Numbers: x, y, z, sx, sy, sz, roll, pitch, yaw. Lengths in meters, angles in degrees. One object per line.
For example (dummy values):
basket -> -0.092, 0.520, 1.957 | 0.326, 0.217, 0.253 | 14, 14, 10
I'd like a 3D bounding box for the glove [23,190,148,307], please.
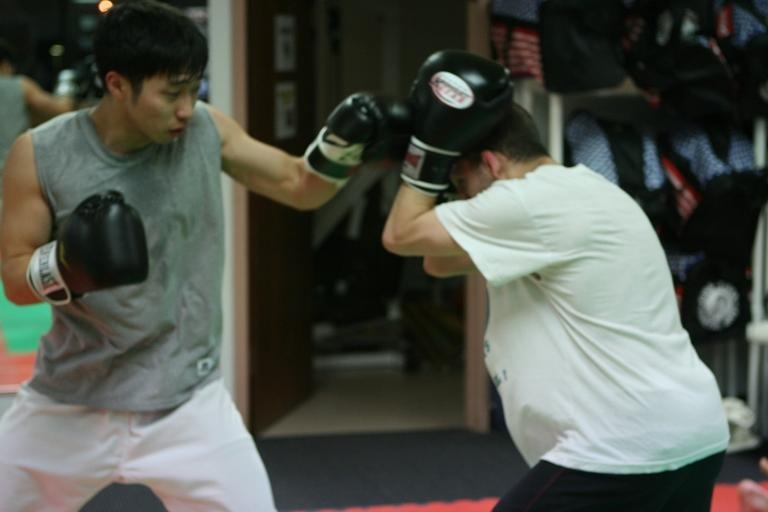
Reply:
glove -> -0.892, -0.019, 2.408 | 0.365, 0.286, 0.174 | -11, -15, 24
